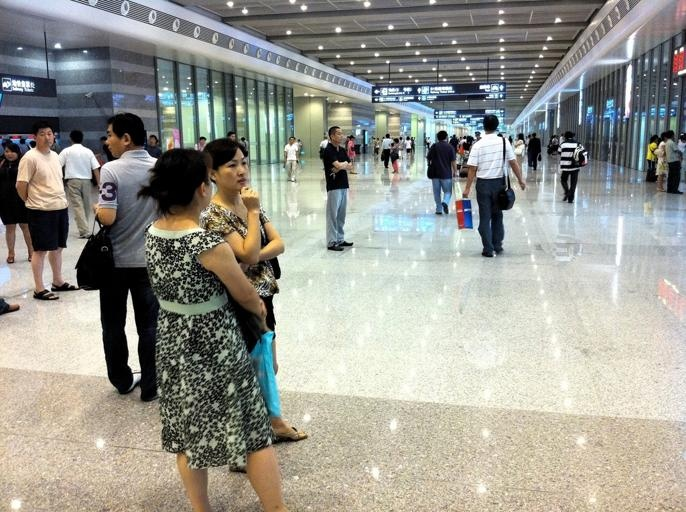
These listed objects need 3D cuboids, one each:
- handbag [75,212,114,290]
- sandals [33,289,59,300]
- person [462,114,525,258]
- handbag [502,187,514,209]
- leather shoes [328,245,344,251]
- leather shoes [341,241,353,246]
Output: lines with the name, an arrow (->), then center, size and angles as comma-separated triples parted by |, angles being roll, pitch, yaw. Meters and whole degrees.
handbag -> -1.642, 0.014, 3.100 | 0.226, 0.501, 0.288 | -9, 17, -32
sandals -> -3.347, 0.444, 5.333 | 0.265, 0.107, 0.120 | 2, 6, 3
person -> 2.174, -0.887, 6.990 | 0.845, 1.712, 0.585 | -1, 14, -3
handbag -> 2.465, -0.870, 6.972 | 0.171, 0.286, 0.353 | 10, 18, 33
leather shoes -> -0.107, -0.137, 7.522 | 0.262, 0.114, 0.091 | 0, 12, 9
leather shoes -> 0.068, -0.204, 7.712 | 0.189, 0.082, 0.068 | -2, 9, -5
